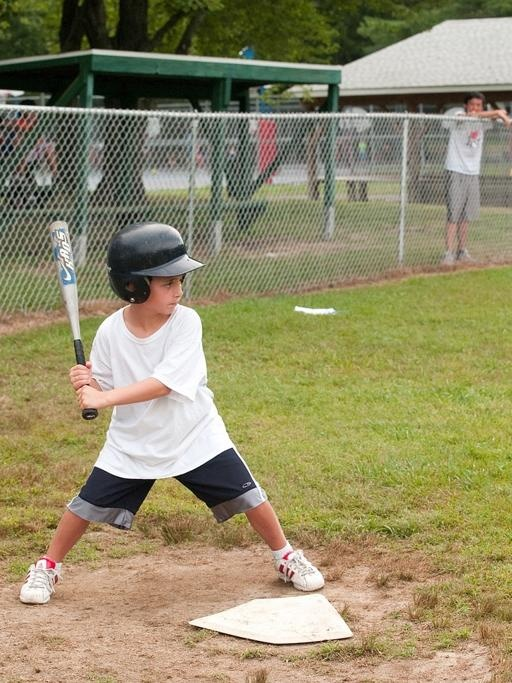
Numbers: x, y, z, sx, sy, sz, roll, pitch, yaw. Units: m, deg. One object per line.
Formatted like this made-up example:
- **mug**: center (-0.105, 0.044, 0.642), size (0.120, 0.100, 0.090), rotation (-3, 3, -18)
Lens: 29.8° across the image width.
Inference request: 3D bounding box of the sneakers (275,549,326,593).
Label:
- **sneakers**: center (0.157, 0.813, 3.405), size (0.098, 0.090, 0.211), rotation (-21, 15, -34)

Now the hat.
- **hat**: center (-0.356, -0.261, 3.163), size (0.340, 0.223, 0.256), rotation (4, 13, 23)

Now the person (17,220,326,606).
- **person**: center (-0.332, 0.251, 3.311), size (1.038, 1.302, 0.354), rotation (-4, 16, -8)

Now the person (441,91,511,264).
- **person**: center (2.259, -1.729, 10.339), size (0.576, 1.846, 0.884), rotation (6, 17, 26)

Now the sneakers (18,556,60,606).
- **sneakers**: center (-0.744, 0.815, 3.280), size (0.083, 0.073, 0.198), rotation (17, 8, -9)
